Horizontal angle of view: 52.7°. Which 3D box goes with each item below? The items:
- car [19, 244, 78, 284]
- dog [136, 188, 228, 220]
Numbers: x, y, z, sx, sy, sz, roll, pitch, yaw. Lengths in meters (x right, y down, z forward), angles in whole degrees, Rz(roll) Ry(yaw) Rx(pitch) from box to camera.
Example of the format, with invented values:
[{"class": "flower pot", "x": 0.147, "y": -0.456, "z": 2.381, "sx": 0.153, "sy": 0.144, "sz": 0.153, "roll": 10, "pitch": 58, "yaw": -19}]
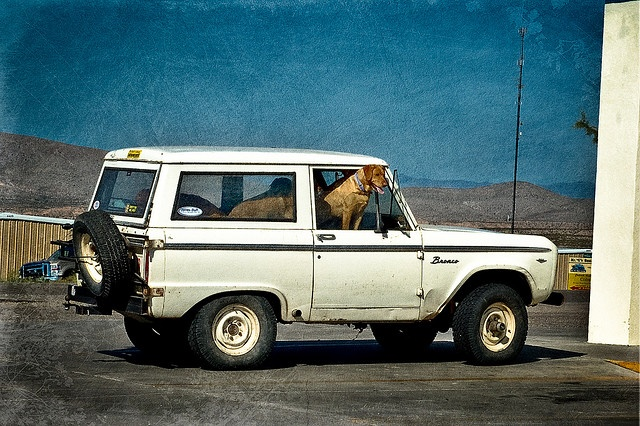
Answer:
[{"class": "car", "x": -10.173, "y": 1.656, "z": 24.140, "sx": 1.463, "sy": 1.164, "sz": 2.540, "roll": -4, "pitch": 13, "yaw": -1}, {"class": "dog", "x": -1.930, "y": -0.014, "z": 8.751, "sx": 0.853, "sy": 0.288, "sz": 0.489, "roll": 10, "pitch": -6, "yaw": -9}]
